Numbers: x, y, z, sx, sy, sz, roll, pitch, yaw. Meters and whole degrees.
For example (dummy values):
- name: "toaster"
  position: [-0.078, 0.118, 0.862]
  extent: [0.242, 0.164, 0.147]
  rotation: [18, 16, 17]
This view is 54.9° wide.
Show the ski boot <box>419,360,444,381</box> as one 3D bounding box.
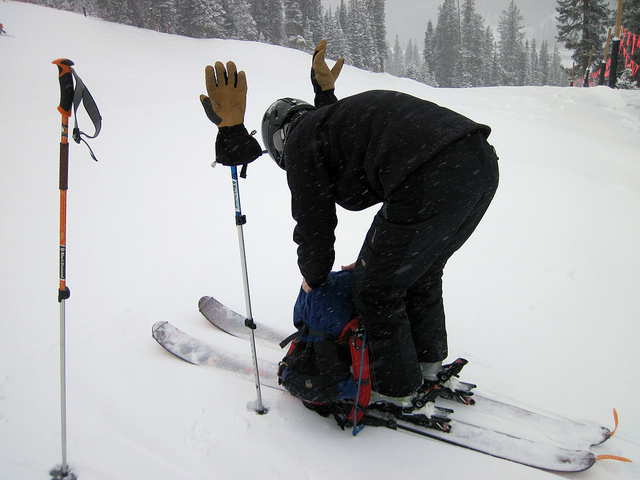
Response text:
- name: "ski boot"
  position: [1.352, 1.564, 7.396]
  extent: [0.253, 0.248, 0.209]
  rotation: [-22, -17, 38]
